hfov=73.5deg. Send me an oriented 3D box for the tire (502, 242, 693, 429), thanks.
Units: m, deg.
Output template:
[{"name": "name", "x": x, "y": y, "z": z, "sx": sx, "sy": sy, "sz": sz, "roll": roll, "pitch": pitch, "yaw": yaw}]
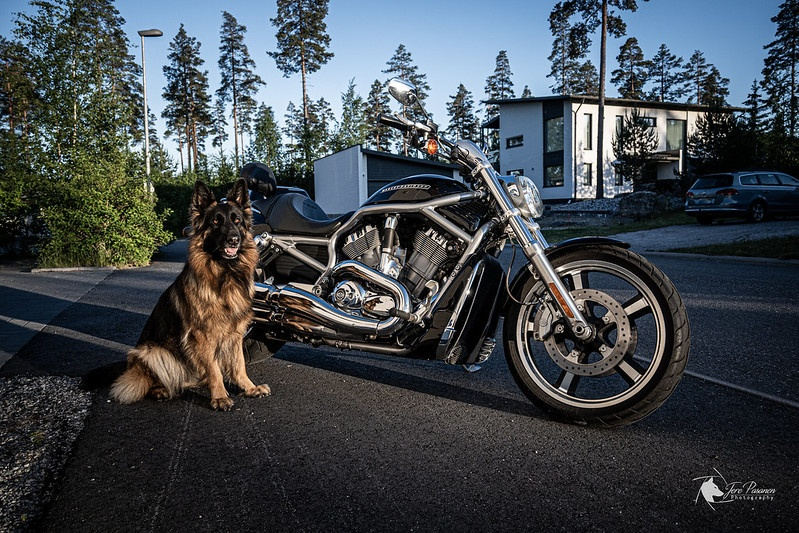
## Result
[{"name": "tire", "x": 1.652, "y": 0.655, "z": 4.575, "sx": 1.505, "sy": 1.653, "sz": 0.309, "roll": -2, "pitch": -4, "yaw": 24}]
